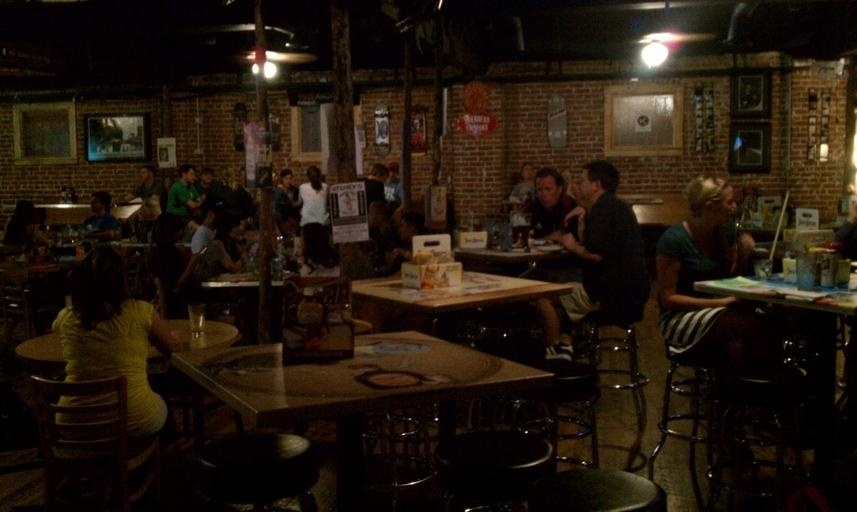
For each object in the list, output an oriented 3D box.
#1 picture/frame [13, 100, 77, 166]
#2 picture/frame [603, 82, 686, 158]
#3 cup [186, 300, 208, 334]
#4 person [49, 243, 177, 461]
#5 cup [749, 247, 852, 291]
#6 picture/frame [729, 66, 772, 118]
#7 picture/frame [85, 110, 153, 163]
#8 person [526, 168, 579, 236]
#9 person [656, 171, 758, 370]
[{"bbox_3d":[-8.148,-2.569,14.763,0.124,1.234,1.458,12,14,20],"label":"picture/frame"},{"bbox_3d":[3.986,-2.553,12.765,1.598,1.231,0.160,1,3,5],"label":"picture/frame"},{"bbox_3d":[-1.928,0.501,5.780,0.121,0.230,0.306,-5,8,-20],"label":"cup"},{"bbox_3d":[-2.308,0.625,5.071,0.730,1.381,0.417,0,8,12],"label":"person"},{"bbox_3d":[2.889,0.063,5.464,0.416,0.296,0.596,-7,9,-35],"label":"cup"},{"bbox_3d":[5.779,-3.011,12.535,1.035,1.077,0.145,0,6,1],"label":"picture/frame"},{"bbox_3d":[-6.393,-2.410,14.315,1.749,1.040,0.072,2,4,21],"label":"picture/frame"},{"bbox_3d":[1.543,-0.589,8.599,0.648,0.904,0.751,6,-6,-43],"label":"person"},{"bbox_3d":[2.235,0.062,5.638,0.767,1.388,0.874,0,8,17],"label":"person"}]
